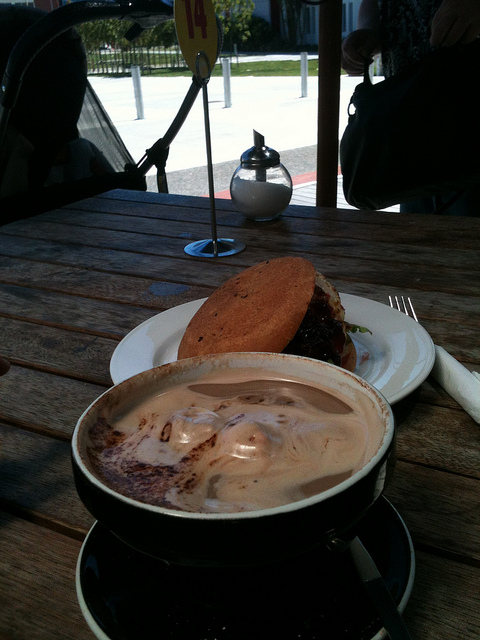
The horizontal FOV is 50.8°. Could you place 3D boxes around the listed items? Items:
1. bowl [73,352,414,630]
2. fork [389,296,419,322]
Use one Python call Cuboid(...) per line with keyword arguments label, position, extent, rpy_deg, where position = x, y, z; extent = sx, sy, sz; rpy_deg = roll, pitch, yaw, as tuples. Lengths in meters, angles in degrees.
Cuboid(label="bowl", position=(-0.001, 0.088, 0.304), extent=(0.198, 0.075, 0.184), rpy_deg=(-3, 21, 1))
Cuboid(label="fork", position=(0.266, -0.023, 0.804), extent=(0.023, 0.007, 0.075), rpy_deg=(-2, 32, 1))
